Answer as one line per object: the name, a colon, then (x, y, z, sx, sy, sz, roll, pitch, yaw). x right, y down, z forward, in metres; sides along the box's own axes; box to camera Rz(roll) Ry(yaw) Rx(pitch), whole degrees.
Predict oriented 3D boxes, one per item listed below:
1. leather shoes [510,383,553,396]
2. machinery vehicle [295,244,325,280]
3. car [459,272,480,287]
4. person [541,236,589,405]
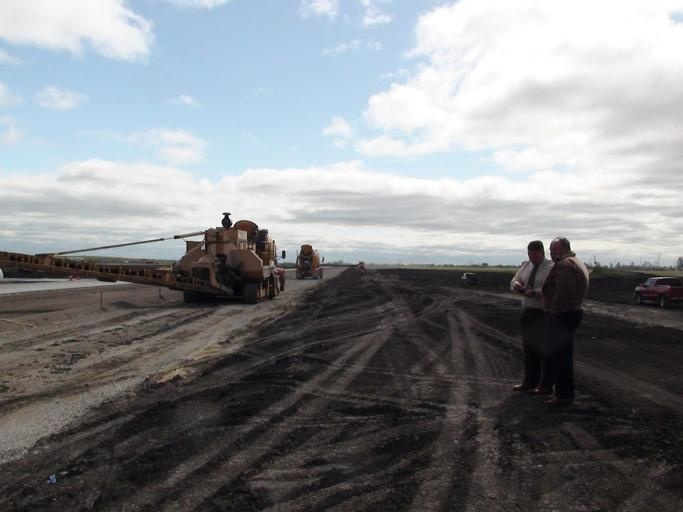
leather shoes: (3.235, 2.243, 7.457, 0.580, 0.206, 0.189, 3, -18, 19)
machinery vehicle: (-3.892, 0.718, 51.275, 2.780, 4.169, 5.147, -2, 4, -4)
car: (11.461, 2.103, 39.270, 1.287, 1.112, 2.013, 2, 8, 3)
person: (3.550, 1.021, 7.037, 0.620, 2.618, 0.584, 1, 5, 25)
